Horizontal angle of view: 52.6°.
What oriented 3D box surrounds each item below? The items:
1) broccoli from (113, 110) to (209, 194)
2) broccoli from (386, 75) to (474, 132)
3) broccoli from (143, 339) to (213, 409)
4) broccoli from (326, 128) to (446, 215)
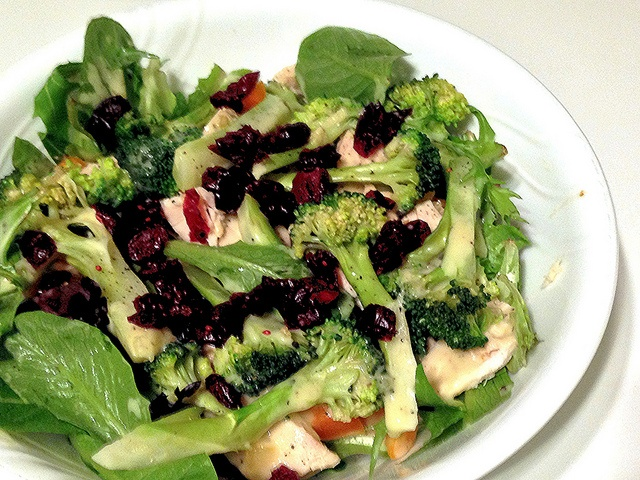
[{"bbox_3d":[-0.749,-0.408,2.799,0.107,0.308,0.355,23,32,-1],"label":"broccoli"},{"bbox_3d":[0.466,-0.612,2.756,0.282,0.203,0.396,-34,33,-31],"label":"broccoli"},{"bbox_3d":[-0.513,0.523,2.478,0.213,0.120,0.216,-38,58,3],"label":"broccoli"},{"bbox_3d":[0.273,-0.260,2.599,0.399,0.315,0.193,-8,47,5],"label":"broccoli"}]
